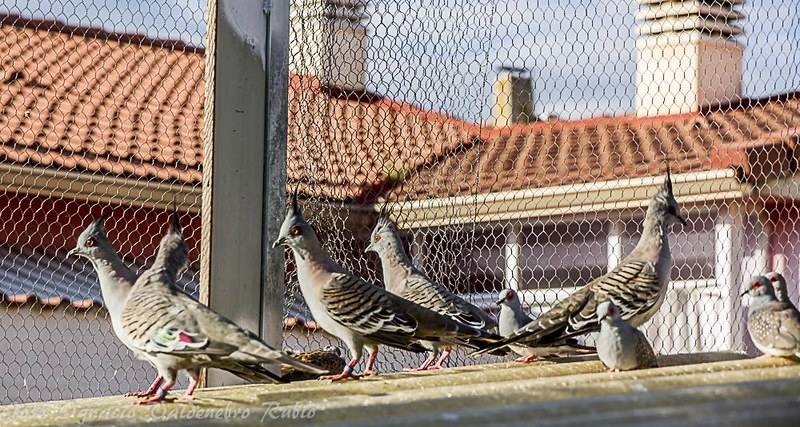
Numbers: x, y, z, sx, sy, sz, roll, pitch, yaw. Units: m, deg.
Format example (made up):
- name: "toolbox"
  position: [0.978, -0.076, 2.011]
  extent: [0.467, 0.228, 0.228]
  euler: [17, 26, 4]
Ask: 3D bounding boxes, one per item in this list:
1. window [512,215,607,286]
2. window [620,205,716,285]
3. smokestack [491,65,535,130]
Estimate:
- name: "window"
  position: [1.909, 0.429, 23.549]
  extent: [0.843, 0.644, 0.026]
  euler: [1, 21, 14]
- name: "window"
  position: [2.866, 0.325, 21.494]
  extent: [0.873, 0.734, 0.026]
  euler: [5, 17, 40]
- name: "smokestack"
  position: [1.660, -1.763, 27.542]
  extent: [0.507, 0.933, 0.563]
  euler: [5, -4, 5]
